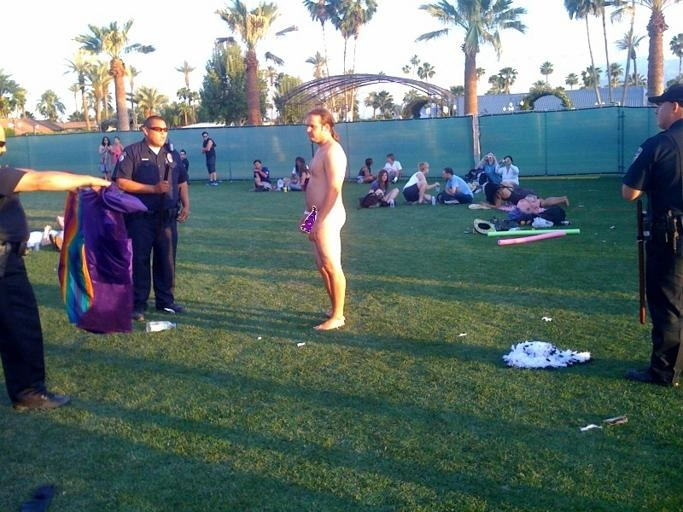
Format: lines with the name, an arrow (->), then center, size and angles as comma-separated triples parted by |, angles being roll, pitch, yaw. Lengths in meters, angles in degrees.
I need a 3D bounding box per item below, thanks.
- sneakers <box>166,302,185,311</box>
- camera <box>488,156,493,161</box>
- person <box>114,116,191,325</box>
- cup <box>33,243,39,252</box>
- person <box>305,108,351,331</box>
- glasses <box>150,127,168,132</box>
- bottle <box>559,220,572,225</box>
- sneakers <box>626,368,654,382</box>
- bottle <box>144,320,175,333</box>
sneakers -> -1.999, 0.618, 7.385 | 0.210, 0.094, 0.072 | 3, 22, -4
camera -> 4.185, -2.741, 17.239 | 0.100, 0.067, 0.135 | -2, 7, 6
person -> -2.219, -0.438, 7.123 | 0.709, 2.282, 0.468 | -7, 13, -20
cup -> -5.422, -0.159, 10.889 | 0.110, 0.187, 0.104 | 2, -4, 0
person -> -0.147, -0.382, 6.569 | 0.426, 2.343, 0.459 | -3, 12, -3
glasses -> -2.056, -1.432, 6.959 | 0.106, 0.051, 0.209 | 4, 14, 27
bottle -> 4.466, -0.671, 12.145 | 0.147, 0.085, 0.360 | 4, 14, 29
sneakers -> 2.585, 1.027, 5.329 | 0.213, 0.139, 0.077 | 7, 11, 36
bottle -> -2.002, 0.777, 6.767 | 0.235, 0.094, 0.139 | -2, 8, -20
